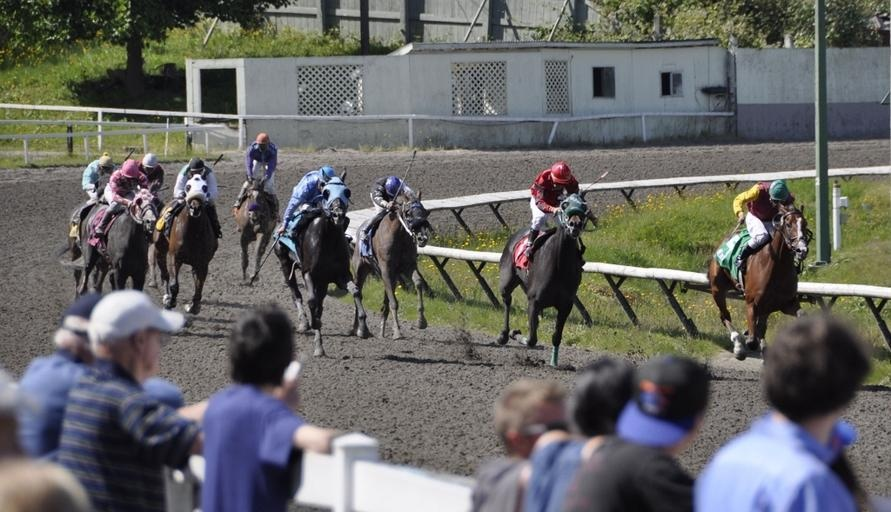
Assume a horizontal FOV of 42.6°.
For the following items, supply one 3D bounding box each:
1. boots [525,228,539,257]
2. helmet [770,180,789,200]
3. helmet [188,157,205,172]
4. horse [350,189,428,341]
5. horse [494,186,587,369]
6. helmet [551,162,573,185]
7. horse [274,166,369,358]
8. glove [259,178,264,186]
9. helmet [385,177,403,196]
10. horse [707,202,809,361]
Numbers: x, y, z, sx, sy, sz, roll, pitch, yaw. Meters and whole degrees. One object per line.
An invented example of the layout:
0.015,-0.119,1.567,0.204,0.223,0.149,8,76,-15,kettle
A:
1.661,-0.260,22.200,0.201,0.609,0.175,13,-36,10,boots
6.389,-1.302,22.007,0.282,0.393,0.345,1,-36,1,helmet
-5.334,-2.004,24.552,0.226,0.329,0.284,1,-19,0,helmet
-1.118,0.205,23.879,1.068,2.975,3.869,-5,0,-24,horse
1.909,0.387,22.158,0.775,3.341,1.929,-4,9,-33,horse
2.224,-1.614,22.081,0.335,0.329,0.521,6,38,-4,helmet
-2.430,-0.019,23.016,1.290,3.531,1.858,-3,9,-28,horse
-4.161,-1.666,25.926,0.109,0.107,0.025,7,-2,-42,glove
-1.070,-1.445,23.516,0.312,0.401,0.351,-1,2,-8,helmet
6.134,0.509,22.275,1.821,3.029,0.993,5,9,32,horse
